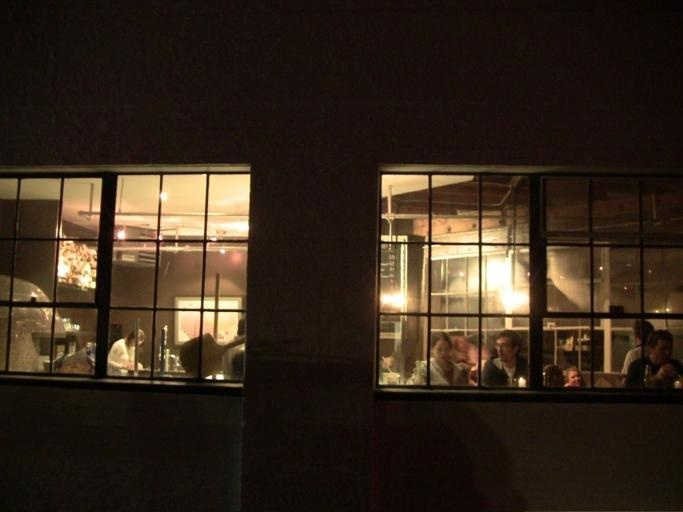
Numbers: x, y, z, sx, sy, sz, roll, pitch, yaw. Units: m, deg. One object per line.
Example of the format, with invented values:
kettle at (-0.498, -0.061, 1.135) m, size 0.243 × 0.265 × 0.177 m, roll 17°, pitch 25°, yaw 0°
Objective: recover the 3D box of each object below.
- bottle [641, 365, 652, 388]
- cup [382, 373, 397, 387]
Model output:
bottle at (2.377, 0.923, 6.208) m, size 0.046 × 0.168 × 0.146 m, roll -3°, pitch -11°, yaw 31°
cup at (0.401, 1.017, 6.632) m, size 0.115 × 0.071 × 0.114 m, roll 1°, pitch -3°, yaw 0°
